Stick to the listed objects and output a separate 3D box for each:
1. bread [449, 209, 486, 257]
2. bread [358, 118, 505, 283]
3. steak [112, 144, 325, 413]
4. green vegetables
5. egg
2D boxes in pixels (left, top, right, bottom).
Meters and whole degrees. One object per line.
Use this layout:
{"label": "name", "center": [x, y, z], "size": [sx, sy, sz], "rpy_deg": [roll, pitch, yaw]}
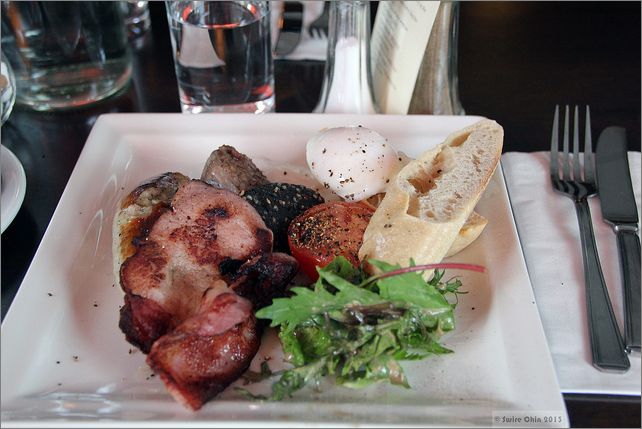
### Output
{"label": "bread", "center": [0.333, 0.054, 1.261], "size": [0.030, 0.095, 0.101], "rpy_deg": [44, 17, -2]}
{"label": "bread", "center": [0.222, -0.046, 1.249], "size": [0.299, 0.358, 0.295], "rpy_deg": [15, 25, 26]}
{"label": "steak", "center": [-0.283, 0.091, 1.262], "size": [0.443, 0.463, 0.389], "rpy_deg": [-18, 24, -38]}
{"label": "green vegetables", "center": [0.081, 0.228, 1.048], "size": [0.347, 0.090, 0.332], "rpy_deg": [-27, 71, -16]}
{"label": "egg", "center": [0.083, -0.128, 1.309], "size": [0.194, 0.066, 0.180], "rpy_deg": [19, 68, 15]}
